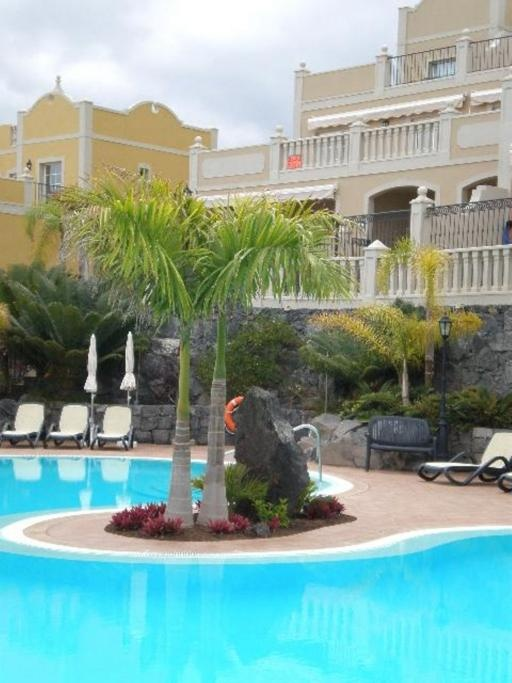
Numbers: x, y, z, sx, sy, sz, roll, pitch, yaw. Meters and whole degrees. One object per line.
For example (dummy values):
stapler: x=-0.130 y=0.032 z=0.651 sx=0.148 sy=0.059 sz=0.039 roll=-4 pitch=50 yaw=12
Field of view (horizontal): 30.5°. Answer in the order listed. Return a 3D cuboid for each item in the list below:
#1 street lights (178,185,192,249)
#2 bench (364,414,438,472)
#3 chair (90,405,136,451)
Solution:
street lights: x=-0.611 y=-1.138 z=8.423 sx=0.072 sy=0.550 sz=0.091 roll=-1 pitch=-5 yaw=-9
bench: x=2.102 y=1.777 z=13.848 sx=0.986 sy=1.063 sz=0.666 roll=0 pitch=-3 yaw=3
chair: x=-2.493 y=1.543 z=16.852 sx=0.504 sy=0.822 sz=0.775 roll=0 pitch=3 yaw=5
